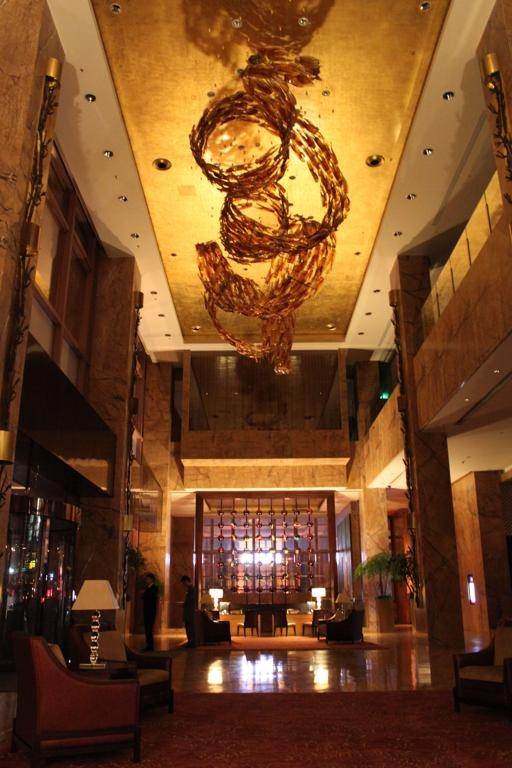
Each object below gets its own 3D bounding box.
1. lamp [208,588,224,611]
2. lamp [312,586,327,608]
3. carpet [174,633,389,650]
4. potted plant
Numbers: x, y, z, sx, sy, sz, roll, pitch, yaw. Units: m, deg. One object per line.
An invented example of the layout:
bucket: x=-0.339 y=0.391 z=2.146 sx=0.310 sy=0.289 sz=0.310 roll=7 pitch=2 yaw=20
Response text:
lamp: x=-1.152 y=6.222 z=15.763 sx=0.402 sy=0.608 sz=1.480 roll=0 pitch=-23 yaw=-4
lamp: x=1.811 y=6.089 z=15.507 sx=0.427 sy=0.584 sz=1.264 roll=-4 pitch=-23 yaw=5
carpet: x=0.543 y=5.538 z=11.546 sx=3.358 sy=0.166 sz=4.378 roll=3 pitch=-24 yaw=-13
potted plant: x=3.461 y=5.292 z=13.856 sx=1.263 sy=1.828 sz=1.529 roll=-2 pitch=-16 yaw=5
